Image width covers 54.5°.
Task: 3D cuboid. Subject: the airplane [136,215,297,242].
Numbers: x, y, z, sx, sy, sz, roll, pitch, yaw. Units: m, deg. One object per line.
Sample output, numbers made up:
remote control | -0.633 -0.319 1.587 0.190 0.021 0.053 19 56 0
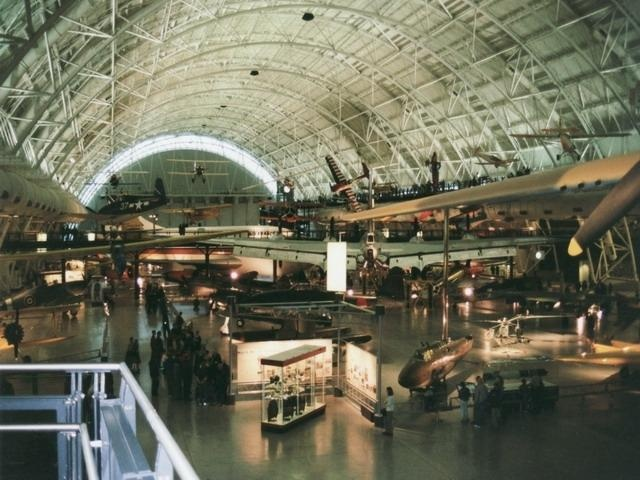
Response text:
airplane | -8.262 -0.672 52.235 14.419 2.152 5.110 1 1 -14

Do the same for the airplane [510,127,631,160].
airplane | 15.912 -6.082 38.991 7.304 1.679 5.655 2 3 17
